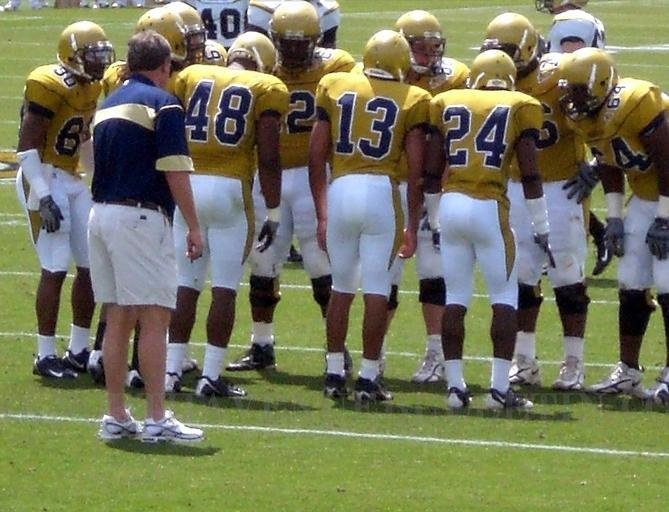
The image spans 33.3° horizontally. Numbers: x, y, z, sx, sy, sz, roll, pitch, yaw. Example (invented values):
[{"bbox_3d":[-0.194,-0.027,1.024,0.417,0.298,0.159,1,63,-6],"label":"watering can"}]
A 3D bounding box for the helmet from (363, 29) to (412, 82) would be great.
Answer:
[{"bbox_3d":[0.362,-1.315,7.411,0.330,0.346,0.403,10,15,20],"label":"helmet"}]

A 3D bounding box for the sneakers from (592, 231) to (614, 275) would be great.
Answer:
[{"bbox_3d":[2.065,-0.024,8.555,0.148,0.402,0.170,10,48,10],"label":"sneakers"}]

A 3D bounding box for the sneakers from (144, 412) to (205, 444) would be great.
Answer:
[{"bbox_3d":[-0.921,0.972,6.343,0.401,0.179,0.139,2,5,-6],"label":"sneakers"}]

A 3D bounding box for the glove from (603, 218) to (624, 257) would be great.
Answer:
[{"bbox_3d":[1.908,-0.133,7.547,0.130,0.257,0.158,4,12,11],"label":"glove"}]

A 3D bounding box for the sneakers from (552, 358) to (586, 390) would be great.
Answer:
[{"bbox_3d":[1.643,0.801,7.764,0.193,0.211,0.204,5,12,15],"label":"sneakers"}]

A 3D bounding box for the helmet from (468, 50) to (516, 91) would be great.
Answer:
[{"bbox_3d":[1.020,-1.219,7.221,0.238,0.233,0.298,6,27,8],"label":"helmet"}]

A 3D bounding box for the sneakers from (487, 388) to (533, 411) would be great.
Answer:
[{"bbox_3d":[1.119,0.895,7.155,0.351,0.135,0.118,-2,19,-19],"label":"sneakers"}]

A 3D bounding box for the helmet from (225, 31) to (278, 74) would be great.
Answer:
[{"bbox_3d":[-0.532,-1.408,7.752,0.274,0.293,0.356,16,17,30],"label":"helmet"}]

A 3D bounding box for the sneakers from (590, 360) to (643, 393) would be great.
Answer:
[{"bbox_3d":[1.956,0.833,7.575,0.150,0.199,0.441,10,-13,-44],"label":"sneakers"}]

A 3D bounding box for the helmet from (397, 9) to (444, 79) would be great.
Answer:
[{"bbox_3d":[0.686,-1.442,7.787,0.348,0.424,0.406,-2,-7,-2],"label":"helmet"}]

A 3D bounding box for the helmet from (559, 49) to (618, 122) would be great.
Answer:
[{"bbox_3d":[1.680,-1.167,7.472,0.467,0.434,0.341,-23,25,-24],"label":"helmet"}]

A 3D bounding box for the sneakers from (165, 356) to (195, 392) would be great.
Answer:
[{"bbox_3d":[-1.040,0.809,7.401,0.068,0.079,0.193,22,22,6],"label":"sneakers"}]

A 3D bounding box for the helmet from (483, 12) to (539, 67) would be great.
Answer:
[{"bbox_3d":[1.232,-1.465,7.825,0.428,0.393,0.333,-24,22,-35],"label":"helmet"}]

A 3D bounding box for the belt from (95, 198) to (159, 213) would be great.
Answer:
[{"bbox_3d":[-1.133,-0.281,6.197,0.344,0.070,0.076,1,12,-3],"label":"belt"}]

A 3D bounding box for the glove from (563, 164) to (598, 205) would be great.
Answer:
[{"bbox_3d":[1.723,-0.486,7.760,0.195,0.291,0.086,35,10,18],"label":"glove"}]

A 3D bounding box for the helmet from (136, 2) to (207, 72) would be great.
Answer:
[{"bbox_3d":[-1.069,-1.492,7.680,0.527,0.395,0.387,-15,30,-24],"label":"helmet"}]

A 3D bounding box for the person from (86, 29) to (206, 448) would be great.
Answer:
[{"bbox_3d":[-1.065,-0.120,6.302,0.632,2.248,0.677,-1,12,-12],"label":"person"}]

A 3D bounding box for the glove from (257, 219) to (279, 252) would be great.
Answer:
[{"bbox_3d":[-0.438,-0.142,7.390,0.134,0.225,0.065,19,16,-9],"label":"glove"}]

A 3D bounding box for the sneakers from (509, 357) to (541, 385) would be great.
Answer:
[{"bbox_3d":[1.349,0.808,7.843,0.352,0.158,0.131,2,0,-28],"label":"sneakers"}]

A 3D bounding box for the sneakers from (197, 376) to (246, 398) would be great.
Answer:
[{"bbox_3d":[-0.684,0.849,7.273,0.391,0.140,0.125,1,12,-17],"label":"sneakers"}]

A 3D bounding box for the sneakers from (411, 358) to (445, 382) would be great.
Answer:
[{"bbox_3d":[0.685,0.800,7.930,0.252,0.179,0.167,1,12,-4],"label":"sneakers"}]

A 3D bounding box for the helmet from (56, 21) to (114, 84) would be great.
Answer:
[{"bbox_3d":[-1.692,-1.427,7.725,0.345,0.349,0.429,-21,26,-40],"label":"helmet"}]

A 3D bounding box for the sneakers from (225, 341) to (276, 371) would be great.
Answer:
[{"bbox_3d":[-0.571,0.745,8.148,0.451,0.185,0.147,0,4,-14],"label":"sneakers"}]

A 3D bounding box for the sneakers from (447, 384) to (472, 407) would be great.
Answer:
[{"bbox_3d":[0.816,0.892,7.155,0.173,0.140,0.139,-1,12,-14],"label":"sneakers"}]
